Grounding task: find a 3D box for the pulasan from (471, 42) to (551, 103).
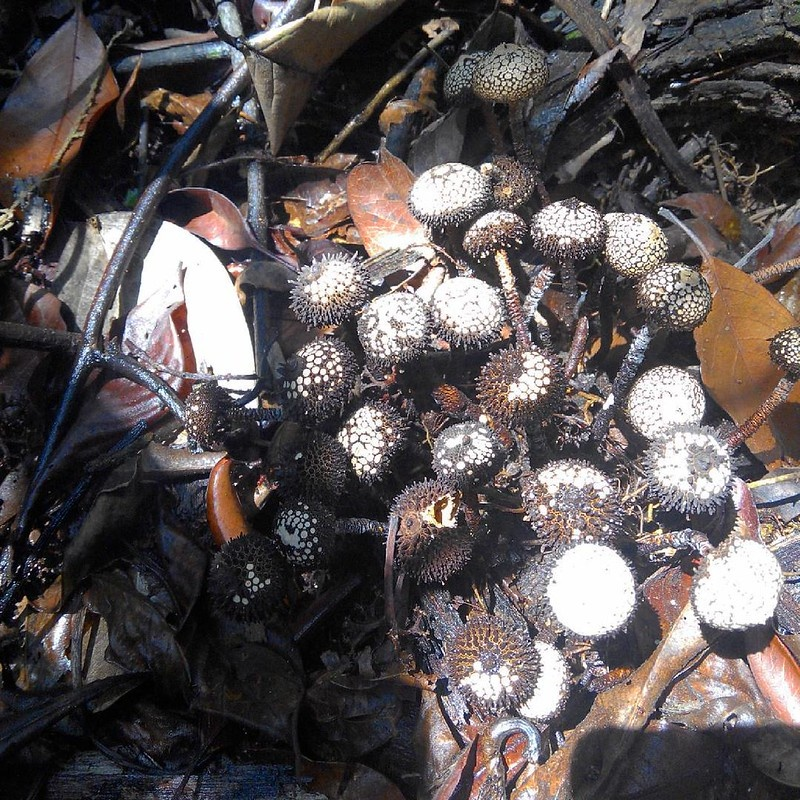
[{"bbox_3d":[0.280,-0.831,2.543,0.191,0.130,0.131,15,62,12],"label":"pulasan"}]
